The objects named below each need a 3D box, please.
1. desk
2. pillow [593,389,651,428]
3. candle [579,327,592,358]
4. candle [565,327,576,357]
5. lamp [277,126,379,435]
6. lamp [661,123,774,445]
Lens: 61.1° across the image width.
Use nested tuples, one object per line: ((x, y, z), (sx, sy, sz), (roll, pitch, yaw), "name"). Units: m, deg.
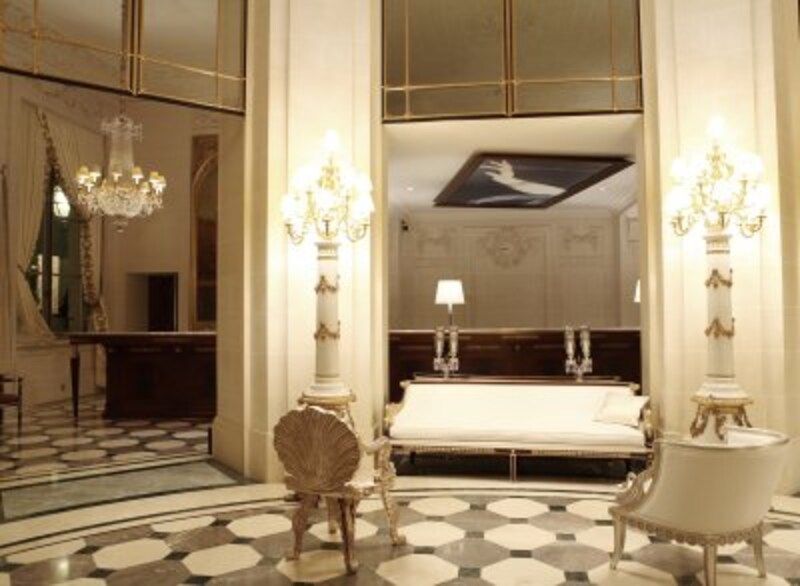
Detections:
((-3.882, 1.353, 11.809), (3.479, 1.264, 1.119), (2, -1, -30), "desk")
((2.561, 1.326, 7.814), (0.399, 0.131, 0.424), (0, 36, 38), "pillow")
((2.335, 0.606, 8.468), (0.091, 0.389, 0.259), (1, 6, 12), "candle")
((2.194, 0.622, 8.682), (0.097, 0.387, 0.365), (1, 5, 11), "candle")
((-0.753, -0.088, 7.227), (0.948, 3.207, 1.571), (-1, 6, -6), "lamp")
((3.285, -0.158, 7.068), (0.955, 3.347, 1.224), (2, 6, 26), "lamp")
